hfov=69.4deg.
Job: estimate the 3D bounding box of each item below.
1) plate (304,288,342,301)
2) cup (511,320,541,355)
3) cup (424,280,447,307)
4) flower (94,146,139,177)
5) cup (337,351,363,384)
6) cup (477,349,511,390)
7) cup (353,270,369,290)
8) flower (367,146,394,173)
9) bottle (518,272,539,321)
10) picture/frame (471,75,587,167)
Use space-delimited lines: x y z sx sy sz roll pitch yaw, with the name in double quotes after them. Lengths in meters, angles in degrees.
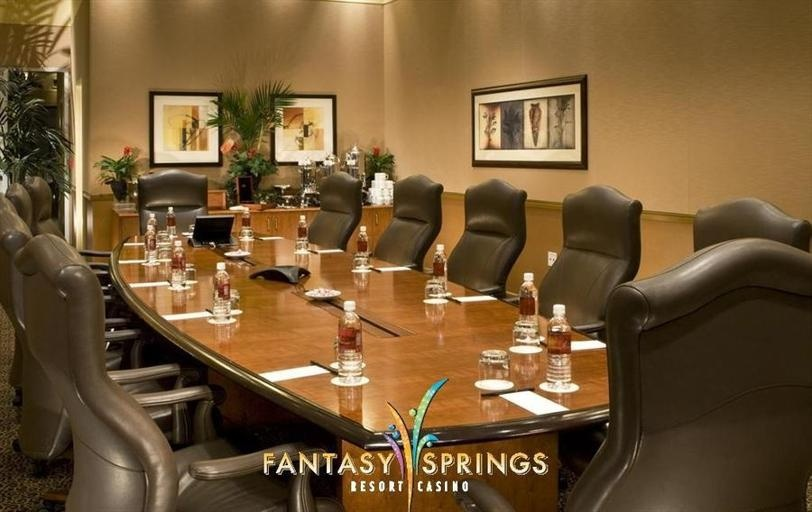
-0.527 0.246 3.754 0.235 0.056 0.222 -2 11 -11 "plate"
0.573 0.391 2.796 0.143 0.153 0.143 0 5 0 "cup"
0.171 0.236 3.705 0.139 0.157 0.140 0 4 0 "cup"
-4.116 -1.299 8.350 0.534 0.377 0.532 -5 -5 3 "flower"
-0.220 0.458 2.425 0.119 0.133 0.118 0 4 0 "cup"
0.356 0.464 2.394 0.143 0.101 0.141 0 5 0 "cup"
-0.325 0.171 4.300 0.127 0.122 0.126 0 4 0 "cup"
-0.433 -1.519 9.426 0.463 0.461 0.458 0 3 -38 "flower"
0.647 0.224 3.107 0.092 0.273 0.317 3 11 11 "bottle"
1.488 -1.627 7.210 0.082 1.043 1.894 -8 14 -35 "picture/frame"
